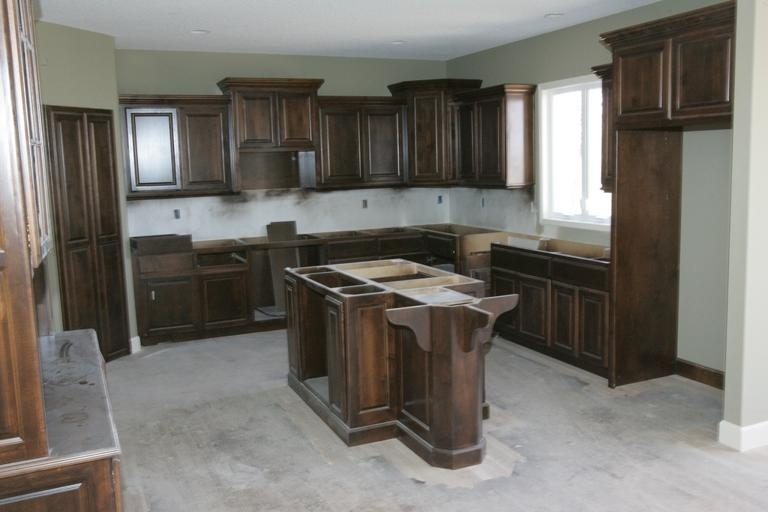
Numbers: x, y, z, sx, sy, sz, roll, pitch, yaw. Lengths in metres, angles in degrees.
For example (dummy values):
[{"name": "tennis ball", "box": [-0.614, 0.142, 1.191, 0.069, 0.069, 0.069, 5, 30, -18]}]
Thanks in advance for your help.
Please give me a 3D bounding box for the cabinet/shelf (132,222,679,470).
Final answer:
[{"name": "cabinet/shelf", "box": [0.083, 0.422, 6.506, 4.323, 1.499, 4.710, -12, 14, -37]}]
